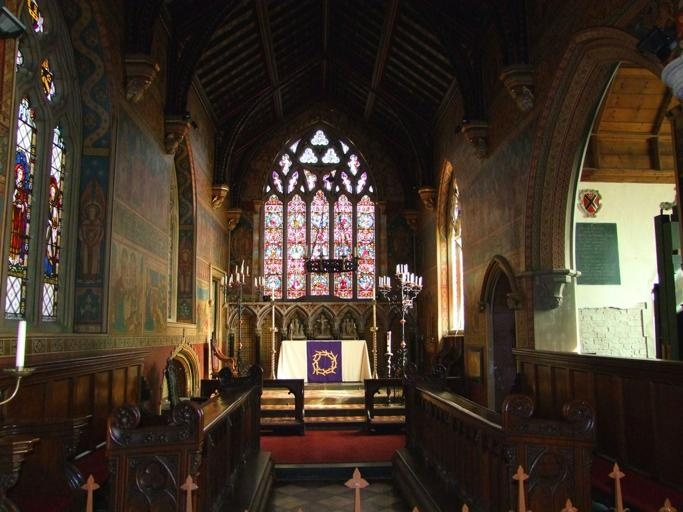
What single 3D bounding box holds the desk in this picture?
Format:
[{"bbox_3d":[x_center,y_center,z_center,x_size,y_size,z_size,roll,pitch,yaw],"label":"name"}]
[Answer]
[{"bbox_3d":[-0.373,2.279,12.836,1.913,0.870,0.487,-1,-8,10],"label":"desk"}]
